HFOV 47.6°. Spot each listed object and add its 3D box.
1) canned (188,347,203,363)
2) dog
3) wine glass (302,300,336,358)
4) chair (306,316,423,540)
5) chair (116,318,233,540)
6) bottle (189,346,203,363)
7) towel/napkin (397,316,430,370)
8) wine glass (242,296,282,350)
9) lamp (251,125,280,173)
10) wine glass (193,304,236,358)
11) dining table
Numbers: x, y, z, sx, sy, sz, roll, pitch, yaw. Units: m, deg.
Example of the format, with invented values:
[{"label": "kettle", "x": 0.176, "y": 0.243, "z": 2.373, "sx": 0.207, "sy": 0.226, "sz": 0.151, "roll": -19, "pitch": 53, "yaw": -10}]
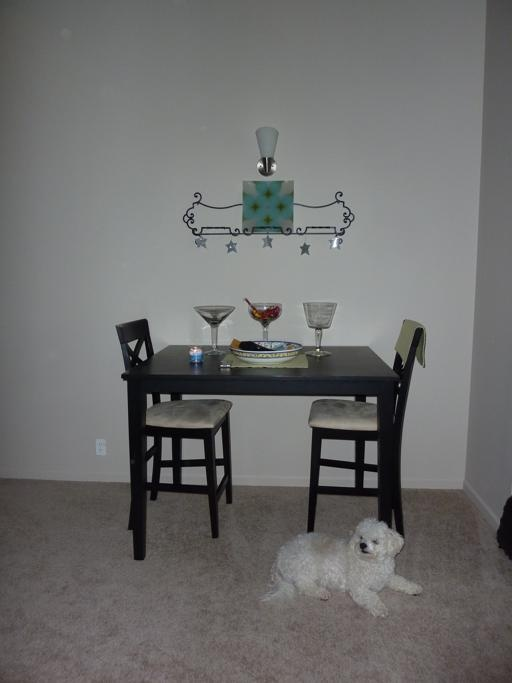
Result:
[{"label": "canned", "x": -0.241, "y": 0.053, "z": 2.346, "sx": 0.050, "sy": 0.066, "sz": 0.056, "roll": 4, "pitch": 11, "yaw": 14}, {"label": "dog", "x": 0.278, "y": 0.701, "z": 1.978, "sx": 0.454, "sy": 0.303, "sz": 0.284, "roll": -4, "pitch": 3, "yaw": 23}, {"label": "wine glass", "x": 0.273, "y": -0.049, "z": 2.561, "sx": 0.191, "sy": 0.345, "sz": 0.209, "roll": 0, "pitch": -1, "yaw": 2}, {"label": "chair", "x": 0.441, "y": 0.351, "z": 2.451, "sx": 0.454, "sy": 0.885, "sz": 0.447, "roll": 5, "pitch": 8, "yaw": 21}, {"label": "chair", "x": -0.341, "y": 0.358, "z": 2.498, "sx": 0.452, "sy": 0.919, "sz": 0.467, "roll": -5, "pitch": 9, "yaw": -21}, {"label": "bottle", "x": -0.243, "y": 0.047, "z": 2.352, "sx": 0.056, "sy": 0.077, "sz": 0.060, "roll": 1, "pitch": 13, "yaw": 0}, {"label": "towel/napkin", "x": 0.636, "y": -0.005, "z": 2.387, "sx": 0.068, "sy": 0.172, "sz": 0.219, "roll": 2, "pitch": 14, "yaw": -4}, {"label": "wine glass", "x": 0.039, "y": -0.072, "z": 2.598, "sx": 0.149, "sy": 0.278, "sz": 0.159, "roll": -10, "pitch": 24, "yaw": -25}, {"label": "lamp", "x": 0.054, "y": -0.913, "z": 2.803, "sx": 0.109, "sy": 0.211, "sz": 0.154, "roll": 0, "pitch": 8, "yaw": 1}, {"label": "wine glass", "x": -0.178, "y": -0.044, "z": 2.475, "sx": 0.175, "sy": 0.175, "sz": 0.192, "roll": 2, "pitch": -1, "yaw": -8}, {"label": "dining table", "x": 0.036, "y": 0.581, "z": 2.448, "sx": 0.932, "sy": 0.844, "sz": 0.754, "roll": 1, "pitch": 13, "yaw": 7}]
